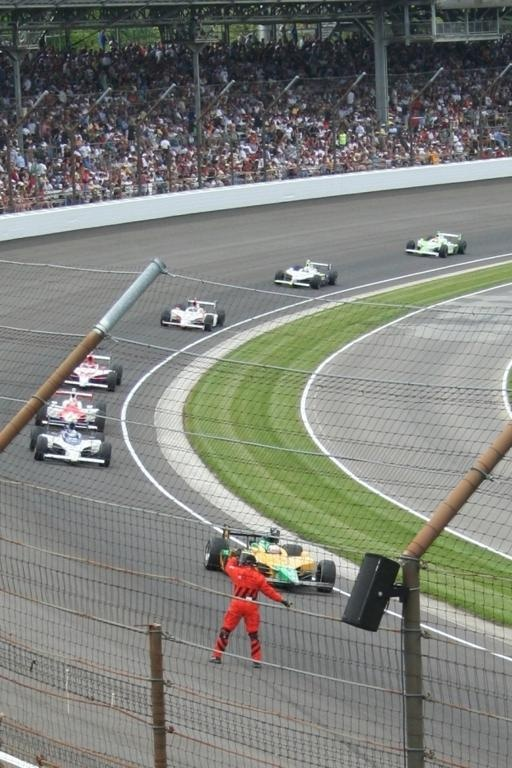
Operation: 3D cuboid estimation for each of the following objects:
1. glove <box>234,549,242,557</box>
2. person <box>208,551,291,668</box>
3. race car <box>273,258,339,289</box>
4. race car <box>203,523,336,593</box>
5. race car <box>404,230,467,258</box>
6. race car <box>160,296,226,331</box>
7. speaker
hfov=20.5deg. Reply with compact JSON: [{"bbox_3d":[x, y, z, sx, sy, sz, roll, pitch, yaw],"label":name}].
[{"bbox_3d":[-0.147,1.426,12.024,0.049,0.059,0.044,-10,-3,30],"label":"glove"},{"bbox_3d":[-0.039,1.868,11.951,0.542,1.004,0.282,8,10,5],"label":"person"},{"bbox_3d":[0.992,-2.193,28.422,0.943,0.552,1.157,10,19,28],"label":"race car"},{"bbox_3d":[0.133,1.683,13.825,1.079,0.575,1.538,9,-2,-19],"label":"race car"},{"bbox_3d":[4.180,-3.193,32.414,1.562,0.481,0.936,-8,19,-26],"label":"race car"},{"bbox_3d":[-1.142,-1.255,25.287,0.699,0.629,1.283,-9,4,-29],"label":"race car"},{"bbox_3d":[0.614,1.108,7.522,0.262,0.419,0.245,6,17,17],"label":"speaker"}]
